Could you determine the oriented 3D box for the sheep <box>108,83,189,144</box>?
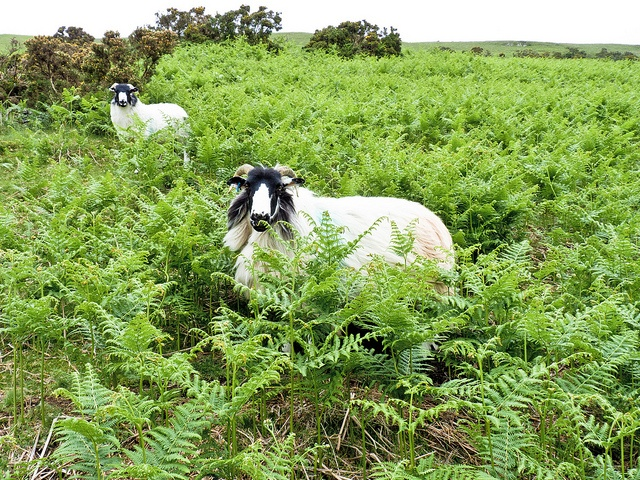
[{"bbox_3d":[-3.482,-2.661,11.631,1.538,0.891,2.230,-1,19,-21],"label":"sheep"}]
